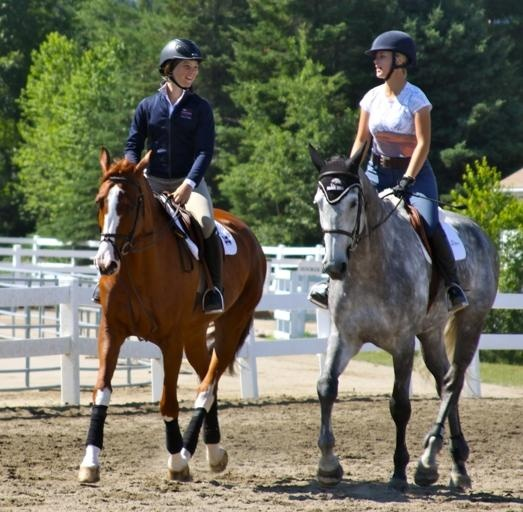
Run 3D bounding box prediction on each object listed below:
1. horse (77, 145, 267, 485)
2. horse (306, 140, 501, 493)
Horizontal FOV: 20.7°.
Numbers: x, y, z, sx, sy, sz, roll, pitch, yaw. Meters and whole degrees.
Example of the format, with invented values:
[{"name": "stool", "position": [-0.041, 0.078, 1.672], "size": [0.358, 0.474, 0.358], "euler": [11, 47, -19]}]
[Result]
[{"name": "horse", "position": [-2.005, 1.130, 29.798], "size": [3.929, 6.478, 2.208], "euler": [-4, 13, -22]}, {"name": "horse", "position": [2.773, 1.205, 29.687], "size": [3.765, 6.584, 1.844], "euler": [-4, 13, -23]}]
